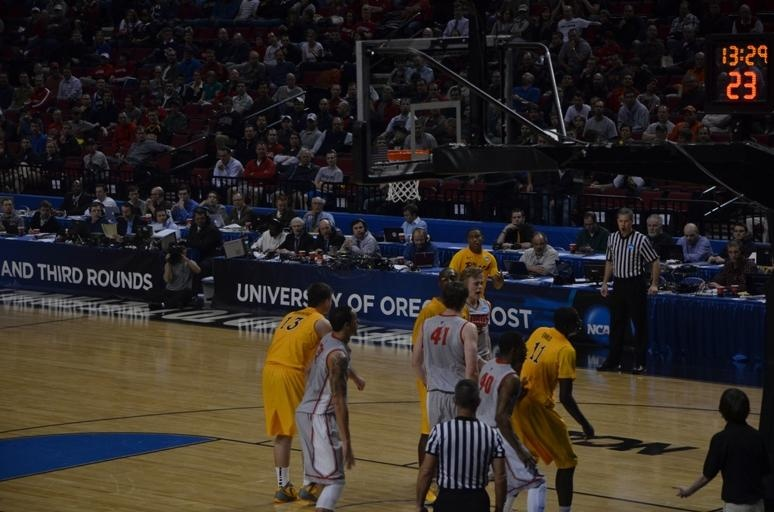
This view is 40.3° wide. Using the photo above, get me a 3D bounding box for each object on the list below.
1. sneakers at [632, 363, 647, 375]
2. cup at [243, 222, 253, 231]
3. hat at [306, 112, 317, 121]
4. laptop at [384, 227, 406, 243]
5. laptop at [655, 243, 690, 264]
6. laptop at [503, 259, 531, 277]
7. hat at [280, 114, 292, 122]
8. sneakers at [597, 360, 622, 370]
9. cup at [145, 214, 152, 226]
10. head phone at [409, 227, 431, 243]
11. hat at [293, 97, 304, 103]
[{"bbox_3d":[3.909,1.757,16.329,0.199,0.135,0.153,0,12,6],"label":"sneakers"},{"bbox_3d":[-2.945,-0.604,22.204,0.176,0.187,0.335,4,-5,2],"label":"cup"},{"bbox_3d":[-1.771,-3.248,24.539,0.188,0.166,0.301,2,-1,9],"label":"hat"},{"bbox_3d":[0.144,-0.403,20.720,0.377,0.273,0.275,4,15,16],"label":"laptop"},{"bbox_3d":[4.873,-0.034,18.130,0.440,0.311,0.327,-7,21,42],"label":"laptop"},{"bbox_3d":[2.270,0.218,18.357,0.301,0.277,0.227,1,4,36],"label":"laptop"},{"bbox_3d":[-2.404,-3.280,25.154,0.303,0.152,0.486,1,-5,-1],"label":"hat"},{"bbox_3d":[3.502,1.733,16.612,0.364,0.176,0.150,3,0,-2],"label":"sneakers"},{"bbox_3d":[-5.220,-0.801,23.084,0.229,0.186,0.363,1,11,-7],"label":"cup"},{"bbox_3d":[0.592,-0.363,19.284,0.263,0.344,0.358,-1,-11,2],"label":"head phone"},{"bbox_3d":[-2.156,-3.854,25.973,0.228,0.114,0.365,4,0,12],"label":"hat"}]
